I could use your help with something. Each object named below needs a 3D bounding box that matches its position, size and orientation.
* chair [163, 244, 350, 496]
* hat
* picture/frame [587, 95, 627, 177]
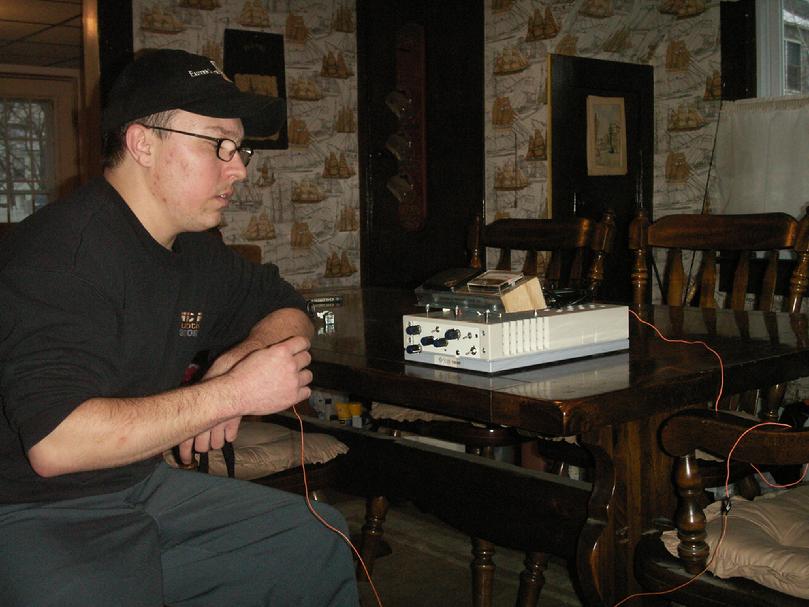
[{"bbox_3d":[-0.475,0.259,2.271,0.436,0.597,0.529,8,11,40],"label":"chair"},{"bbox_3d":[-0.513,-0.480,1.569,0.416,0.181,0.257,-6,18,-9],"label":"hat"},{"bbox_3d":[1.258,-1.040,4.420,0.323,0.489,0.065,-6,9,-30],"label":"picture/frame"}]
